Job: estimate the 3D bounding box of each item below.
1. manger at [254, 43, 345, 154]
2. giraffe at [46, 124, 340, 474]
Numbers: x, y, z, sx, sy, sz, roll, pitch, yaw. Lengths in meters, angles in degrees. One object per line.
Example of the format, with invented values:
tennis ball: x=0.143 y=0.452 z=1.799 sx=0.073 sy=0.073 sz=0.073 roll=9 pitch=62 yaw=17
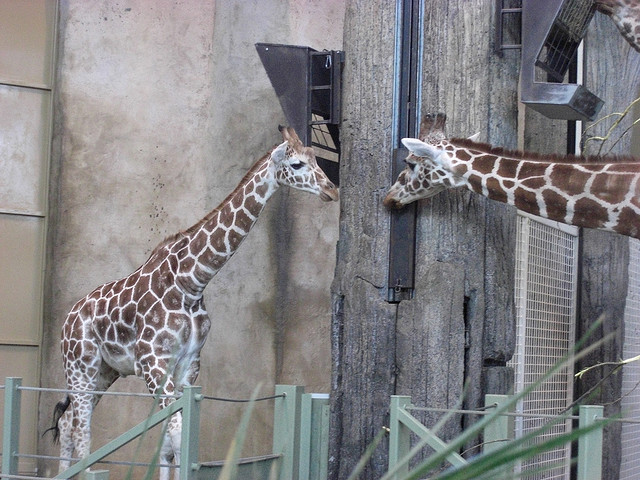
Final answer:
manger: x=-0.046 y=-0.979 z=12.421 sx=0.547 sy=0.761 sz=0.647 roll=2 pitch=2 yaw=21
giraffe: x=-0.972 y=0.450 z=12.273 sx=0.838 sy=2.354 sz=1.969 roll=15 pitch=-22 yaw=-42
